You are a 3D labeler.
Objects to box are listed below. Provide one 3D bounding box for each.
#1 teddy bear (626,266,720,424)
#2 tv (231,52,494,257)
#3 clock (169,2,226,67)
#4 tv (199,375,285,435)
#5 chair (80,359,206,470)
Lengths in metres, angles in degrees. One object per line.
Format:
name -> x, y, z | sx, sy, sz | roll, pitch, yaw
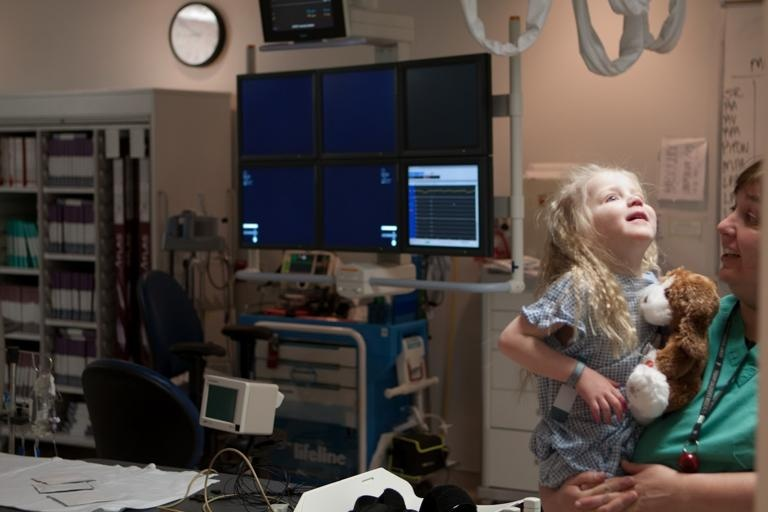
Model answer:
teddy bear -> 0.995, 0.295, 2.596 | 0.264, 0.516, 0.382 | 7, 9, 16
tv -> -0.097, -0.562, 4.278 | 1.187, 0.816, 0.052 | 1, 1, 20
clock -> -1.439, -1.756, 5.902 | 0.464, 0.498, 0.082 | -4, 1, 27
tv -> -0.561, 0.591, 3.018 | 0.256, 0.201, 0.254 | 15, -9, -43
chair -> -1.325, 0.922, 4.177 | 0.609, 0.747, 0.693 | 0, -4, 9
